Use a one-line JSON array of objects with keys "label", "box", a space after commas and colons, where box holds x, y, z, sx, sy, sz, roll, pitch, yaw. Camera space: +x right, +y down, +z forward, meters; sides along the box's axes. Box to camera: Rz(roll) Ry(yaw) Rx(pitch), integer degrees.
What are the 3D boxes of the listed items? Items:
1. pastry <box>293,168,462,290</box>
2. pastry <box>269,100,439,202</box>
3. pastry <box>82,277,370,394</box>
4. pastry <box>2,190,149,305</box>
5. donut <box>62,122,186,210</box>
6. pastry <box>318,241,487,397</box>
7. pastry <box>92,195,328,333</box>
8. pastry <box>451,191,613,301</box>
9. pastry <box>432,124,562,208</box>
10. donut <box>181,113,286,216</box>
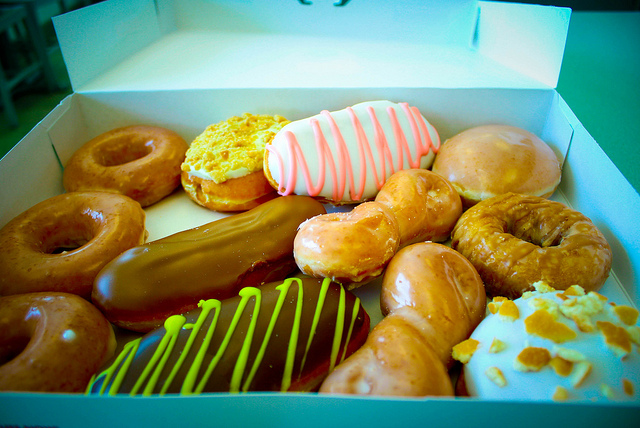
[{"label": "pastry", "box": [0.216, 0.032, 1.680, 0.639, 0.247, 0.313, -23, 41, -23]}, {"label": "pastry", "box": [0.125, -0.227, 1.774, 0.531, 0.176, 0.323, -2, 72, -13]}, {"label": "pastry", "box": [-0.282, 0.274, 1.468, 0.790, 0.270, 0.409, -13, 19, -34]}, {"label": "pastry", "box": [-0.821, 0.092, 1.678, 0.375, 0.136, 0.369, 3, 34, 1]}, {"label": "donut", "box": [-0.710, -0.227, 1.917, 0.355, 0.130, 0.352, 4, 41, 9]}, {"label": "pastry", "box": [0.246, 0.342, 1.392, 0.281, 0.211, 0.533, 21, 51, 20]}, {"label": "pastry", "box": [-0.337, 0.141, 1.687, 0.788, 0.232, 0.336, -24, 29, -25]}, {"label": "pastry", "box": [0.643, 0.086, 1.731, 0.544, 0.296, 0.385, -1, 16, -2]}, {"label": "pastry", "box": [0.612, -0.184, 1.764, 0.342, 0.177, 0.330, -24, 34, -20]}, {"label": "donut", "box": [-0.299, -0.212, 1.873, 0.339, 0.132, 0.402, 17, 45, 20]}]
